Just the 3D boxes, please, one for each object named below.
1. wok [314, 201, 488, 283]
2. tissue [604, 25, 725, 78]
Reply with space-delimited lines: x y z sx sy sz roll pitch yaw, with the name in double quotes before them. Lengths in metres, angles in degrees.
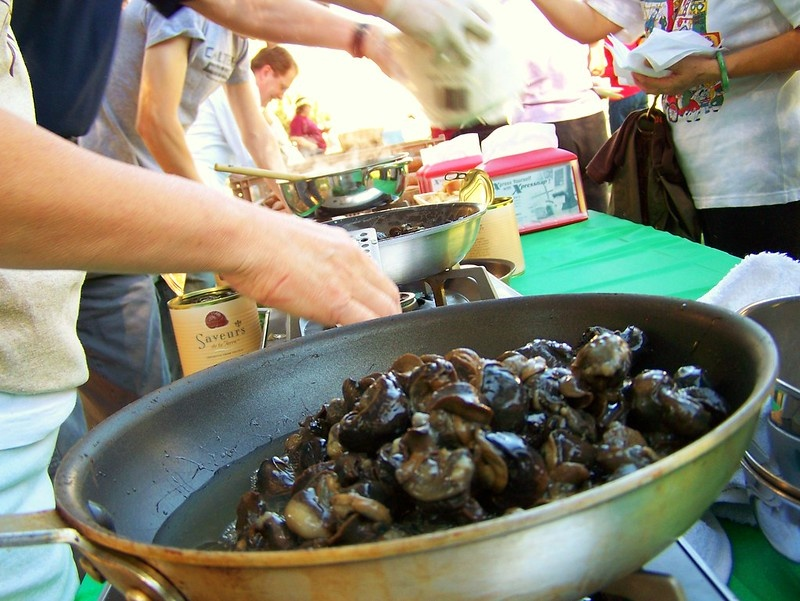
"wok" 0.094 -0.140 1.629 0.376 0.139 0.364 -10 10 22
"tissue" 1.040 -0.966 2.225 0.340 0.118 0.331 -8 7 -25
